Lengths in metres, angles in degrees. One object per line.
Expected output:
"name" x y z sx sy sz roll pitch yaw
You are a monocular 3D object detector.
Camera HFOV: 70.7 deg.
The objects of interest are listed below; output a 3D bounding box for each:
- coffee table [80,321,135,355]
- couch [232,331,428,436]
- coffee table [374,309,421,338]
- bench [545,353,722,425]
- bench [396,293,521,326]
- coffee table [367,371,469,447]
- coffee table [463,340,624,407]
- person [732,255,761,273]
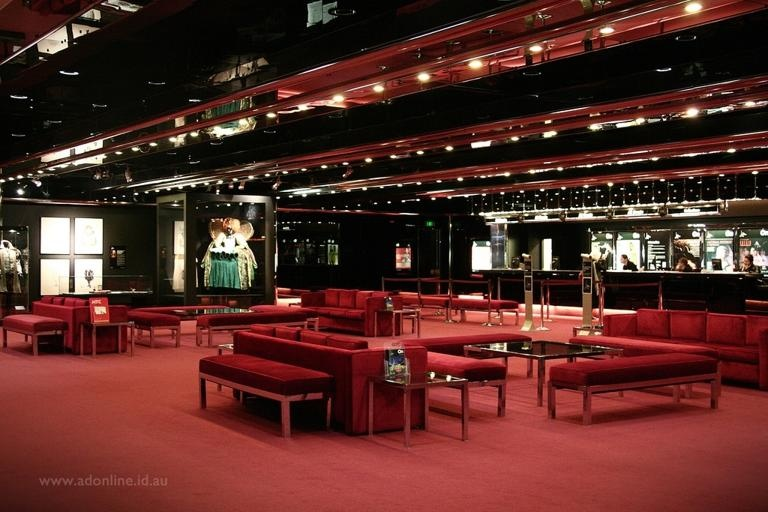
"coffee table" -5.586 1.574 10.977 0.959 0.659 0.905 4 -8 -33
"couch" -1.012 1.509 7.316 0.971 0.890 2.798 8 -6 -42
"coffee table" 0.492 1.649 13.637 0.910 0.575 0.900 4 -8 -41
"bench" 3.374 1.751 7.297 2.507 0.662 0.742 2 -4 -26
"bench" 2.382 1.575 16.823 2.885 0.805 3.379 0 1 -26
"coffee table" 0.362 1.671 6.096 0.921 0.564 0.883 4 -8 -34
"coffee table" 2.204 1.758 8.109 1.263 0.499 1.307 2 -4 -36
"person" 11.781 0.263 17.509 0.426 1.002 0.567 5 -4 -10
